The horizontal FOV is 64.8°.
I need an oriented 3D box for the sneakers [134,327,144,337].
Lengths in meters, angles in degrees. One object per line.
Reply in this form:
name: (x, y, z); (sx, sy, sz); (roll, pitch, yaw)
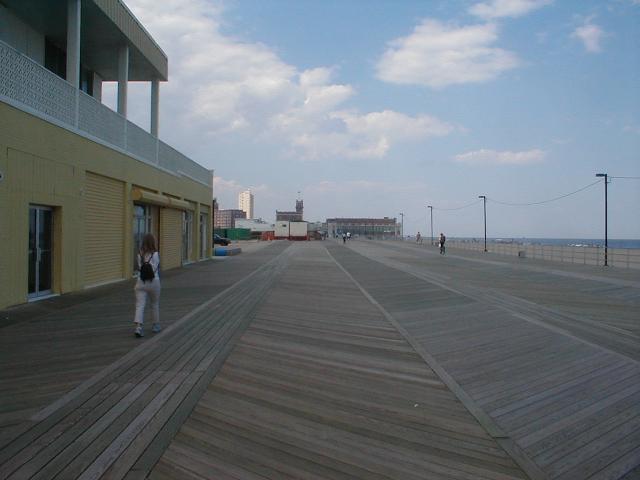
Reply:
sneakers: (-3.297, 1.680, 9.256); (0.118, 0.134, 0.283); (1, -3, 2)

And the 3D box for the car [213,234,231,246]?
car: (-10.310, -0.024, 53.182); (2.120, 1.067, 1.322); (-2, 3, 5)

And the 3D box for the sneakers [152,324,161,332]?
sneakers: (-3.075, 1.665, 9.553); (0.087, 0.110, 0.250); (-1, -5, 4)
